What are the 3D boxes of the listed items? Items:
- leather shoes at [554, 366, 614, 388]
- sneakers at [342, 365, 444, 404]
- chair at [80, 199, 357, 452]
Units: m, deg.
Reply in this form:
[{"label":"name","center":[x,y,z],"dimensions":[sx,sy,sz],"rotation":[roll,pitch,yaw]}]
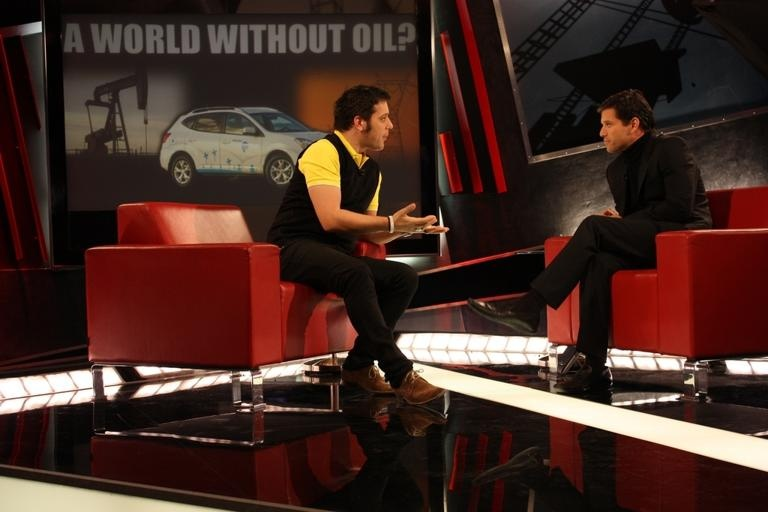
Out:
[{"label":"leather shoes","center":[1.097,0.649,3.466],"dimensions":[0.350,0.123,0.126],"rotation":[1,-2,-17]},{"label":"sneakers","center":[0.029,0.622,3.250],"dimensions":[0.577,0.227,0.181],"rotation":[2,3,32]},{"label":"chair","center":[-0.759,0.235,3.640],"dimensions":[1.078,1.281,1.450],"rotation":[-1,-1,21]}]
